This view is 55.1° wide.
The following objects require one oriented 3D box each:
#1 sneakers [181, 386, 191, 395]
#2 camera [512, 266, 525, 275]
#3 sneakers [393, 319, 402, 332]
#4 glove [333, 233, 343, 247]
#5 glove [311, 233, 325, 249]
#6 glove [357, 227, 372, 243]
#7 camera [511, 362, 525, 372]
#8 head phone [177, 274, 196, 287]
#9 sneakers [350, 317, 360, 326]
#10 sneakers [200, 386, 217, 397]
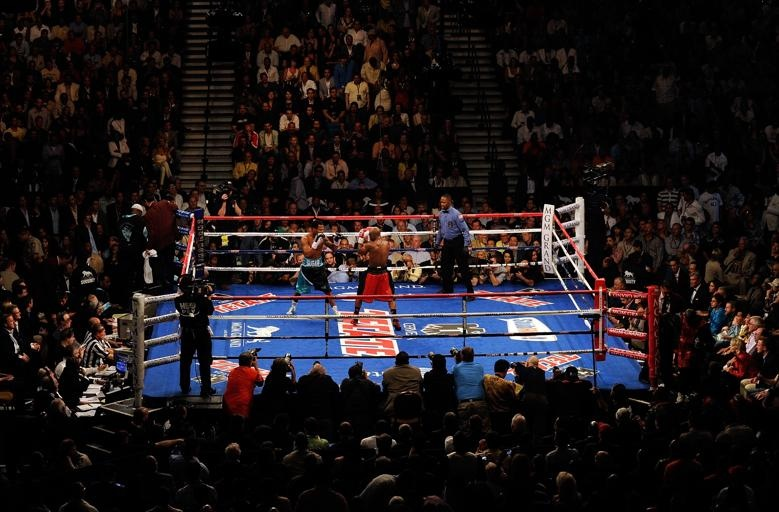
[{"bbox_3d":[-3.538,2.339,13.002,0.153,0.103,0.146,2,1,13],"label":"sneakers"},{"bbox_3d":[3.066,0.327,17.705,0.208,0.140,0.197,0,2,3],"label":"camera"},{"bbox_3d":[0.139,1.390,15.268,0.185,0.220,0.463,-2,7,0],"label":"sneakers"},{"bbox_3d":[-1.227,-0.412,17.627,0.237,0.276,0.297,-1,13,-6],"label":"glove"},{"bbox_3d":[-1.417,-0.301,14.812,0.318,0.122,0.227,-22,37,31],"label":"glove"},{"bbox_3d":[-0.537,-0.415,14.982,0.345,0.304,0.263,7,-5,-4],"label":"glove"},{"bbox_3d":[2.176,1.872,12.667,0.266,0.100,0.328,0,5,-1],"label":"camera"},{"bbox_3d":[-3.508,0.411,12.897,0.234,0.199,0.274,-3,7,-11],"label":"head phone"},{"bbox_3d":[-0.695,1.300,15.110,0.207,0.102,0.277,2,14,-2],"label":"sneakers"},{"bbox_3d":[-3.146,2.320,12.971,0.280,0.249,0.136,-4,9,-24],"label":"sneakers"}]
